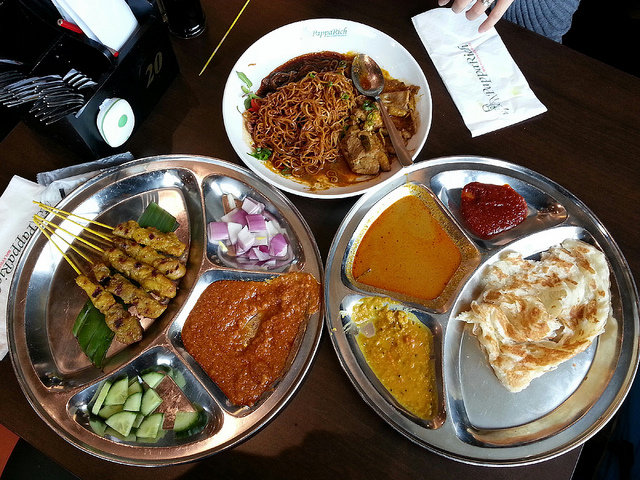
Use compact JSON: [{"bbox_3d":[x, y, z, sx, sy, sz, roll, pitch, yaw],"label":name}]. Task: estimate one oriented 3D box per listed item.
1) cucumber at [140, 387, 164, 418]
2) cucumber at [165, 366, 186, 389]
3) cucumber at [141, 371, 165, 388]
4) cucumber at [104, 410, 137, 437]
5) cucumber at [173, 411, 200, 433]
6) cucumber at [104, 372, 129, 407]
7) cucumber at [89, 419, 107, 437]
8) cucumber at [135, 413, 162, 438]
[{"bbox_3d":[-1.135,1.092,3.235,0.149,0.045,0.167,35,91,20],"label":"cucumber"},{"bbox_3d":[-0.994,0.942,3.356,0.189,0.047,0.077,39,86,10],"label":"cucumber"},{"bbox_3d":[-1.143,0.942,3.316,0.107,0.086,0.107,-45,80,-3],"label":"cucumber"},{"bbox_3d":[-1.298,1.197,3.162,0.162,0.040,0.157,33,87,3],"label":"cucumber"},{"bbox_3d":[-0.878,1.211,3.207,0.152,0.062,0.122,-1,81,5],"label":"cucumber"},{"bbox_3d":[-1.377,1.011,3.284,0.056,0.254,0.173,27,45,6],"label":"cucumber"},{"bbox_3d":[-1.467,1.237,3.205,0.072,0.033,0.108,-26,54,-34],"label":"cucumber"},{"bbox_3d":[-1.130,1.231,3.193,0.169,0.050,0.142,-3,81,4],"label":"cucumber"}]
